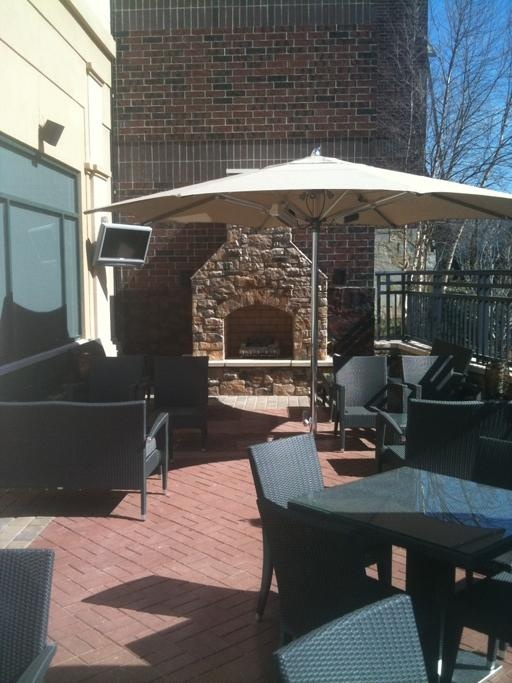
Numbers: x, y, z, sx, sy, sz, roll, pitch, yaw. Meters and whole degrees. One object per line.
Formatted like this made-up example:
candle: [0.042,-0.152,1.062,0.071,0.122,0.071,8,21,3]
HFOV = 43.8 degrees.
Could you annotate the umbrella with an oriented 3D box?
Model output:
umbrella: [0.606,-0.406,5.947,3.299,2.899,2.954,1,5,29]

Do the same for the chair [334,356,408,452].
chair: [1.127,0.598,6.827,0.761,1.287,0.885,0,2,2]

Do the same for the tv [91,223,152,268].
tv: [-2.064,-1.554,9.581,0.720,0.612,0.210,-3,20,-44]

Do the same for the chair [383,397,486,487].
chair: [1.177,0.611,4.307,0.439,0.761,0.521,3,6,-5]
